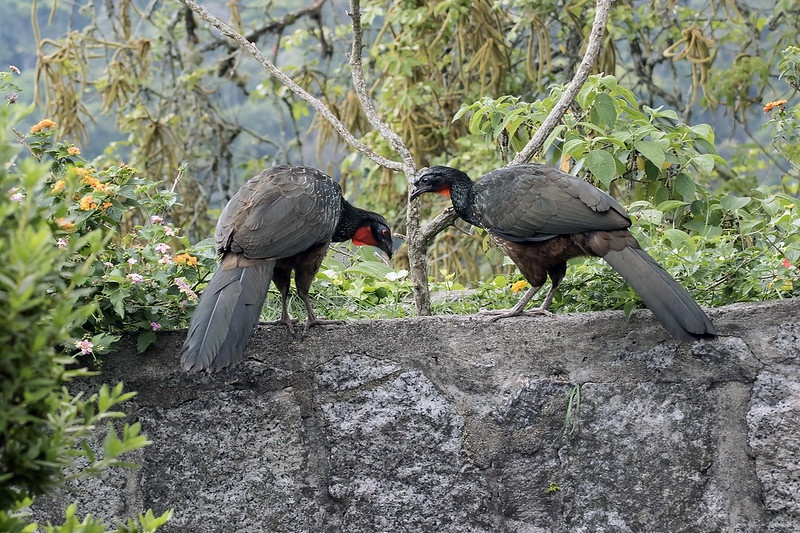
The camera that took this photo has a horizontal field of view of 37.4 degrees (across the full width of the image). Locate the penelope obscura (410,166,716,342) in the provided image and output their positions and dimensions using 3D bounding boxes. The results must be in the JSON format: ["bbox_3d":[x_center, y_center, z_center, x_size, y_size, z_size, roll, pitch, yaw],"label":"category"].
[{"bbox_3d":[0.853,-0.129,6.706,1.986,0.874,0.513,7,13,44],"label":"penelope obscura"}]

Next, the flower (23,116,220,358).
[{"bbox_3d":[-1.519,-0.188,6.447,0.957,1.260,0.714,-5,8,-10],"label":"flower"}]
